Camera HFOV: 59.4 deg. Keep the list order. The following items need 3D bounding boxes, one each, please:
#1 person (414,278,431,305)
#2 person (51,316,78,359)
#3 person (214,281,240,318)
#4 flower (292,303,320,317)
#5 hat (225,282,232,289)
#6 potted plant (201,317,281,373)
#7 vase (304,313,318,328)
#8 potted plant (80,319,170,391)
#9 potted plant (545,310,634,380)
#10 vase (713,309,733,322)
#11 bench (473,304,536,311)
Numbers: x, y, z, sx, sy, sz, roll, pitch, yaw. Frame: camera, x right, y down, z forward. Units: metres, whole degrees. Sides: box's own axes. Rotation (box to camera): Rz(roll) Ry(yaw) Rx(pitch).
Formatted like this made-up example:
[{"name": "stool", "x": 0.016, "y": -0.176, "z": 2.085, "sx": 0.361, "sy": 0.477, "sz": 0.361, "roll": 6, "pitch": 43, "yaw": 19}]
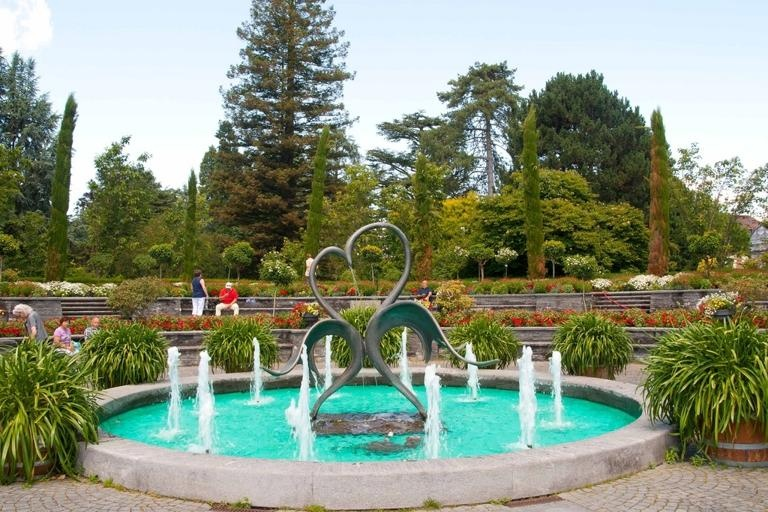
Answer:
[{"name": "person", "x": 1.467, "y": 1.334, "z": 25.486, "sx": 0.589, "sy": 1.394, "sz": 0.732, "roll": -2, "pitch": -10, "yaw": 17}, {"name": "person", "x": -7.807, "y": 1.971, "z": 16.582, "sx": 0.587, "sy": 0.891, "sz": 0.635, "roll": 4, "pitch": 2, "yaw": -22}, {"name": "person", "x": -5.756, "y": 1.670, "z": 24.828, "sx": 0.799, "sy": 1.441, "sz": 0.794, "roll": 0, "pitch": 4, "yaw": -13}, {"name": "flower", "x": -2.470, "y": 1.731, "z": 21.608, "sx": 0.819, "sy": 0.451, "sz": 0.849, "roll": 2, "pitch": -2, "yaw": 3}, {"name": "hat", "x": -5.814, "y": 1.096, "z": 25.224, "sx": 0.262, "sy": 0.142, "sz": 0.354, "roll": 2, "pitch": 11, "yaw": -7}, {"name": "potted plant", "x": -3.810, "y": 2.291, "z": 17.607, "sx": 1.463, "sy": 1.078, "sz": 1.504, "roll": 3, "pitch": 4, "yaw": 27}, {"name": "vase", "x": -2.328, "y": 2.027, "z": 21.406, "sx": 0.476, "sy": 0.451, "sz": 0.232, "roll": -1, "pitch": -3, "yaw": -8}, {"name": "potted plant", "x": -6.140, "y": 2.382, "z": 15.990, "sx": 1.497, "sy": 1.085, "sz": 1.501, "roll": 10, "pitch": -14, "yaw": -37}, {"name": "potted plant", "x": 5.071, "y": 2.203, "z": 16.462, "sx": 1.593, "sy": 1.296, "sz": 1.643, "roll": 2, "pitch": 1, "yaw": 25}, {"name": "vase", "x": 8.798, "y": 1.524, "z": 17.460, "sx": 0.524, "sy": 0.350, "sz": 0.546, "roll": 1, "pitch": -5, "yaw": 14}, {"name": "bench", "x": 4.940, "y": 2.074, "z": 27.215, "sx": 2.233, "sy": 0.229, "sz": 2.909, "roll": -2, "pitch": -4, "yaw": 15}]
